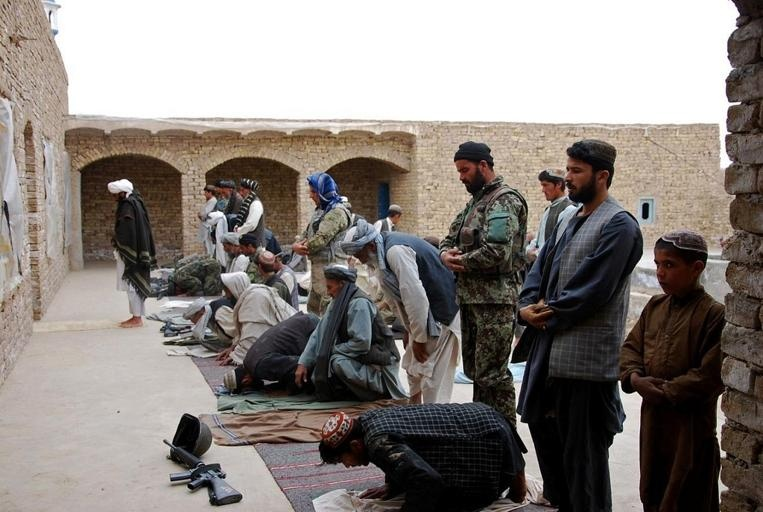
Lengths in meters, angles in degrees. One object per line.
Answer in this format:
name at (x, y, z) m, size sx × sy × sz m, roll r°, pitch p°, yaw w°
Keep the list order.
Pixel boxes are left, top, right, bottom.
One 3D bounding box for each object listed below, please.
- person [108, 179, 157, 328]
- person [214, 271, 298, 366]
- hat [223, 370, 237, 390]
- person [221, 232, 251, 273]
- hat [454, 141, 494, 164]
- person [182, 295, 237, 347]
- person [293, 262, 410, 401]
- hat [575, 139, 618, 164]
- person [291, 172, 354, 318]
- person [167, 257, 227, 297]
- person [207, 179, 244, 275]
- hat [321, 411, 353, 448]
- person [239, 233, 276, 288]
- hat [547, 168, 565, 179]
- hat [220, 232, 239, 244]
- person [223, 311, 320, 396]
person at (-3.785, -0.041, 10.147) m, size 0.612 × 2.235 × 1.015 m, roll -4°, pitch 10°, yaw -20°
person at (-1.481, 0.678, 7.866) m, size 1.011 × 0.979 × 0.763 m, roll -6°, pitch 4°, yaw -23°
hat at (-1.564, 1.301, 6.944) m, size 0.150 × 0.184 × 0.158 m, roll -3°, pitch 9°, yaw -34°
person at (-2.218, -0.014, 10.255) m, size 0.478 × 0.688 × 0.568 m, roll -7°, pitch 11°, yaw -23°
hat at (0.766, -0.834, 5.409) m, size 0.226 × 0.124 × 0.219 m, roll 8°, pitch 3°, yaw 6°
person at (-2.120, 0.838, 8.736) m, size 0.947 × 0.505 × 0.681 m, roll 6°, pitch -3°, yaw 2°
person at (-0.221, 0.746, 6.694) m, size 1.090 × 1.256 × 0.925 m, roll 0°, pitch 0°, yaw -40°
hat at (1.458, -0.710, 4.499) m, size 0.330 × 0.163 × 0.210 m, roll -7°, pitch 11°, yaw -37°
person at (-0.807, 0.080, 9.063) m, size 0.793 × 2.314 × 0.843 m, roll -4°, pitch 14°, yaw -27°
person at (-3.573, 0.446, 12.937) m, size 1.047 × 0.734 × 0.336 m, roll -22°, pitch -6°, yaw -26°
person at (-3.264, -0.618, 13.415) m, size 0.869 × 2.042 × 0.791 m, roll 2°, pitch 32°, yaw -27°
hat at (-0.290, 1.158, 4.407) m, size 0.203 × 0.182 × 0.166 m, roll 2°, pitch 10°, yaw 16°
person at (-1.755, 0.070, 9.226) m, size 0.337 × 0.842 × 0.373 m, roll -2°, pitch 46°, yaw 6°
hat at (1.926, -0.917, 7.309) m, size 0.204 × 0.094 × 0.239 m, roll 10°, pitch -3°, yaw 15°
hat at (-2.319, -0.265, 10.060) m, size 0.227 × 0.121 × 0.163 m, roll 3°, pitch 5°, yaw 37°
person at (-1.131, 1.021, 6.858) m, size 0.963 × 0.361 × 0.663 m, roll -2°, pitch 42°, yaw 3°
